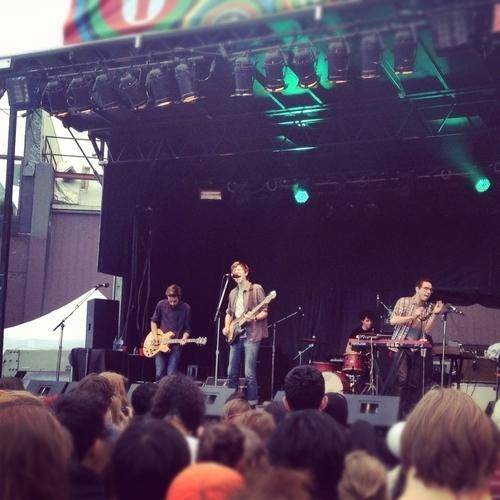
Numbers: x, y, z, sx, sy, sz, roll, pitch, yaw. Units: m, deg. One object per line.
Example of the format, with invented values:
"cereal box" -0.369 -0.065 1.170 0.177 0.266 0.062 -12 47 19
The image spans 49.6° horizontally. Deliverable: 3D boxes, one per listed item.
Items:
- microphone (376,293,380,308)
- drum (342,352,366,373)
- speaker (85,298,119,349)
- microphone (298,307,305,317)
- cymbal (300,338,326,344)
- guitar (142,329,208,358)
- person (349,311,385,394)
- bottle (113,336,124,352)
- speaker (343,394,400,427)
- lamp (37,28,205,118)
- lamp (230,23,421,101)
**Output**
"microphone" 2.486 0.957 10.514 0.030 0.258 0.090 11 -12 -38
"drum" 1.502 1.605 7.763 0.251 0.229 0.269 4 -11 -8
"speaker" -2.267 1.120 8.333 0.225 0.761 0.701 -1 -11 26
"microphone" 1.048 1.254 11.151 0.145 0.206 0.135 -11 -4 28
"cymbal" 1.112 1.609 9.628 0.444 0.130 0.494 0 -3 -4
"guitar" -1.157 1.359 7.857 0.785 0.403 0.602 8 -11 -14
"person" 1.751 1.473 7.855 0.350 1.145 0.382 0 -13 -32
"bottle" -1.969 1.399 8.075 0.135 0.223 0.203 3 0 8
"speaker" 0.917 1.144 4.167 0.416 0.313 0.270 -1 26 7
"lamp" -1.601 -2.132 6.762 1.998 0.858 0.604 -8 8 0
"lamp" 0.900 -2.081 6.243 2.043 0.761 1.283 1 -11 24
